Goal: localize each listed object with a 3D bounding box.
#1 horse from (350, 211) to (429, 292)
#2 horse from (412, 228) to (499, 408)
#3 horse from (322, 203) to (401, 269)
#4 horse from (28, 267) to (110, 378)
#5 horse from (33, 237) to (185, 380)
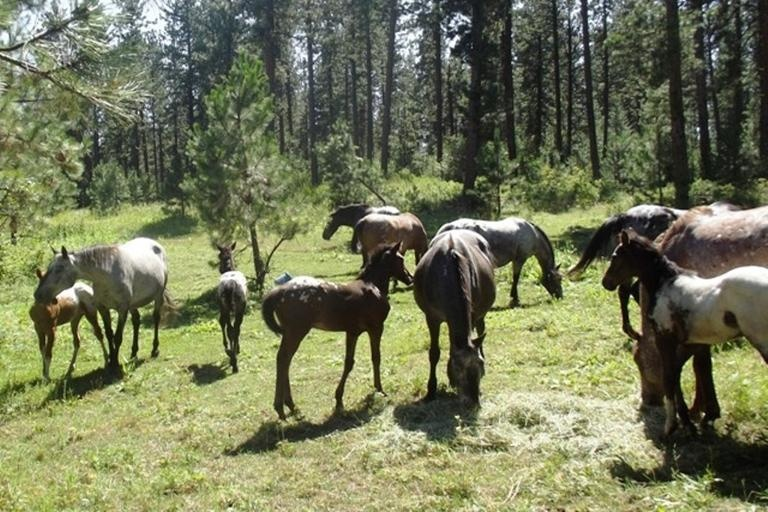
[{"bbox_3d":[0.415,-0.351,28.661,3.747,2.731,1.119,0,3,-38],"label":"horse"},{"bbox_3d":[1.898,1.563,19.606,1.870,4.330,2.482,1,4,8],"label":"horse"},{"bbox_3d":[-0.527,-1.104,32.232,4.202,2.715,1.277,-5,39,-14],"label":"horse"},{"bbox_3d":[-9.520,2.046,22.284,0.806,2.959,3.777,-3,-3,14],"label":"horse"},{"bbox_3d":[-7.993,1.556,23.271,1.465,4.173,5.909,5,10,20],"label":"horse"}]
